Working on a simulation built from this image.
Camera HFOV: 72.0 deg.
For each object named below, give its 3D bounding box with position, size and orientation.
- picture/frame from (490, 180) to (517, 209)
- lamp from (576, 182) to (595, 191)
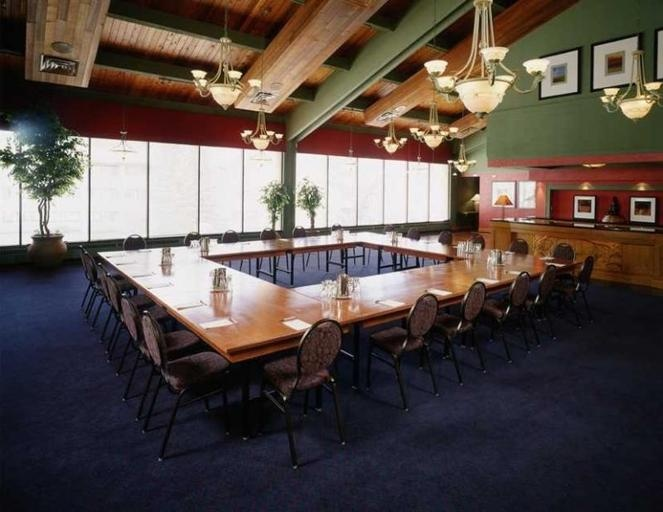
[{"bbox_3d":[5.655,-2.040,14.897,0.122,1.191,1.194,-1,2,-33],"label":"picture/frame"},{"bbox_3d":[6.602,-1.803,11.833,0.218,0.209,0.405,-2,5,-9],"label":"lamp"}]
